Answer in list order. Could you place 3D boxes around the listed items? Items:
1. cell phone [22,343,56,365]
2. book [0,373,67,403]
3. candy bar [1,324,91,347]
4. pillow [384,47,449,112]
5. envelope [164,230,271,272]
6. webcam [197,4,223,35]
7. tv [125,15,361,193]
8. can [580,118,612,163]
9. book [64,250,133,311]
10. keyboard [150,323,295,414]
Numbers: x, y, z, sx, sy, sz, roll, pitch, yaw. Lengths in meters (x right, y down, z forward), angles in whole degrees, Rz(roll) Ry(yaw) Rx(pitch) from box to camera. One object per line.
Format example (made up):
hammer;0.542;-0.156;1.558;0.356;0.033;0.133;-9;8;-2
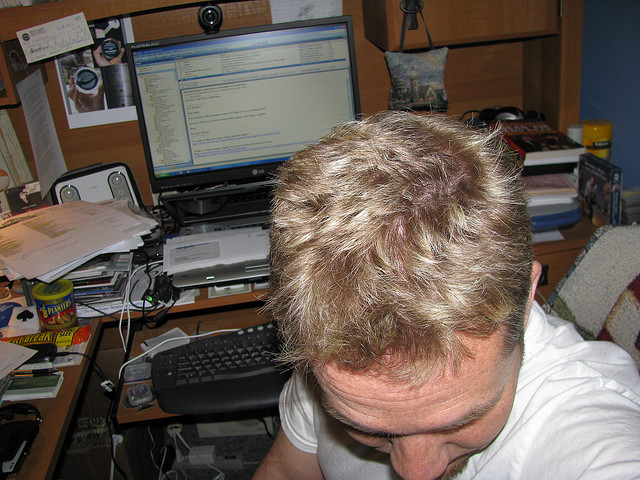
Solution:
cell phone;-0.669;0.269;1.226;0.074;0.033;0.046;-4;23;1
book;-0.654;0.333;1.181;0.123;0.028;0.065;-4;22;-2
candy bar;-0.677;0.246;1.274;0.207;0.033;0.070;-7;22;-9
pillow;0.303;-0.490;1.609;0.175;0.194;0.124;6;28;24
envelope;-0.277;0.019;1.400;0.332;0.091;0.022;-10;-16;15
webcam;-0.314;-0.632;1.481;0.063;0.083;0.074;-4;24;3
tv;-0.214;-0.384;1.415;0.768;0.389;0.051;-8;22;-4
can;0.864;-0.308;1.645;0.115;0.101;0.104;5;18;21
book;-0.573;0.109;1.355;0.180;0.033;0.156;-8;24;-6
keyboard;-0.239;0.317;1.346;0.430;0.188;0.075;-3;-23;-42
